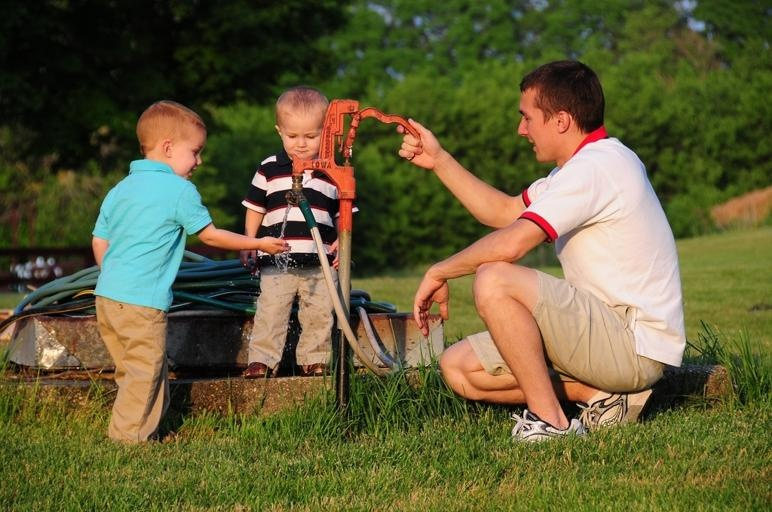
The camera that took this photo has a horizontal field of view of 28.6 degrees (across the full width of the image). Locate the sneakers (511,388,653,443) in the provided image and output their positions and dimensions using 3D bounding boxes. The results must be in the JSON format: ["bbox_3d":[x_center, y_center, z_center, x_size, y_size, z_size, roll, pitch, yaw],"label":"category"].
[{"bbox_3d":[1.899,1.567,14.683,0.665,0.288,0.228,-25,-1,-13],"label":"sneakers"}]

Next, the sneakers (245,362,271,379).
[{"bbox_3d":[-1.282,1.169,15.241,0.240,0.107,0.132,7,-5,-6],"label":"sneakers"}]
